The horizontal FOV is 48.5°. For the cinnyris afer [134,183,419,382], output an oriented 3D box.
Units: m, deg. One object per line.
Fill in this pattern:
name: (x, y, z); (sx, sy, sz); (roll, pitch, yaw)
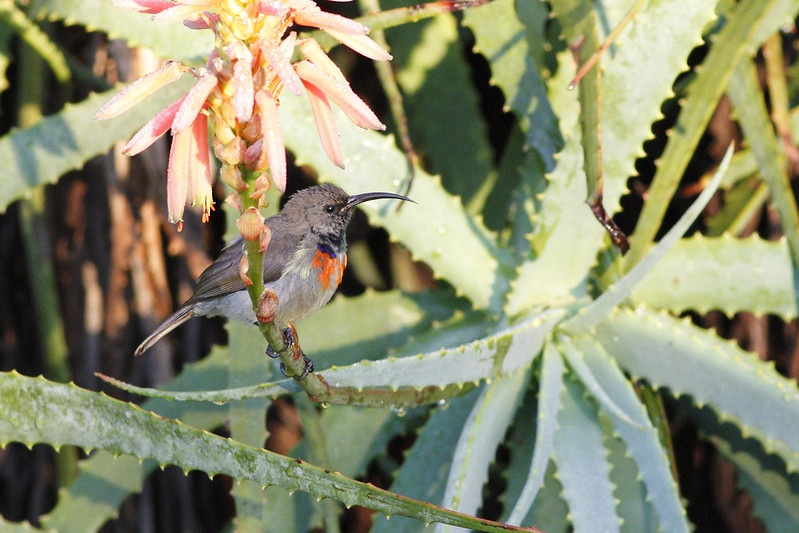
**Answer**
cinnyris afer: (-0.415, -0.015, 3.102); (0.850, 0.577, 0.330); (1, 13, -7)

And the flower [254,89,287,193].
flower: (-0.249, -0.246, 1.726); (0.057, 0.197, 0.076); (-6, -18, 31)

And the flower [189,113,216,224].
flower: (-0.406, -0.198, 1.817); (0.047, 0.214, 0.048); (-4, 19, -16)

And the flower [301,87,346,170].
flower: (-0.158, -0.293, 1.815); (0.073, 0.171, 0.057); (-11, 31, -31)

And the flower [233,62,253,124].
flower: (-0.302, -0.333, 1.702); (0.048, 0.123, 0.034); (9, -16, -20)
